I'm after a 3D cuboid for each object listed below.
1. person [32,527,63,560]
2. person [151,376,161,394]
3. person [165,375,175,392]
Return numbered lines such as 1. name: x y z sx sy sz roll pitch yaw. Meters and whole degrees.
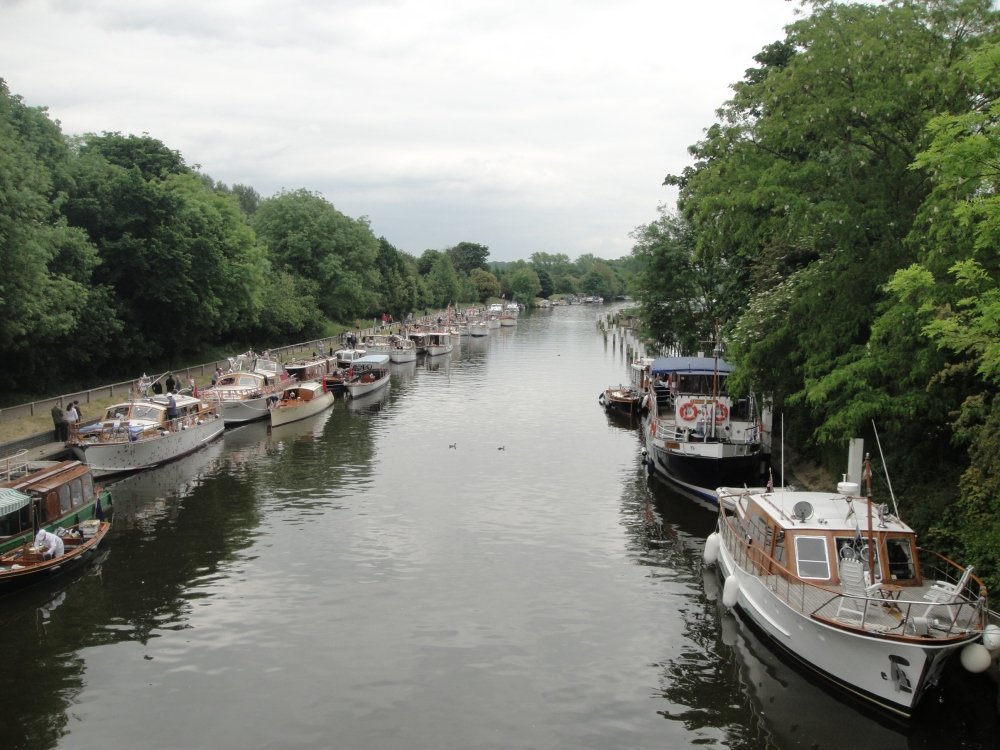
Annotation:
1. person: -17.139 6.441 32.446 1.045 1.759 1.079 -1 16 -26
2. person: -24.647 0.720 61.360 1.176 1.142 2.120 4 -4 -24
3. person: -24.336 0.551 63.080 0.893 1.235 0.414 4 -1 9
